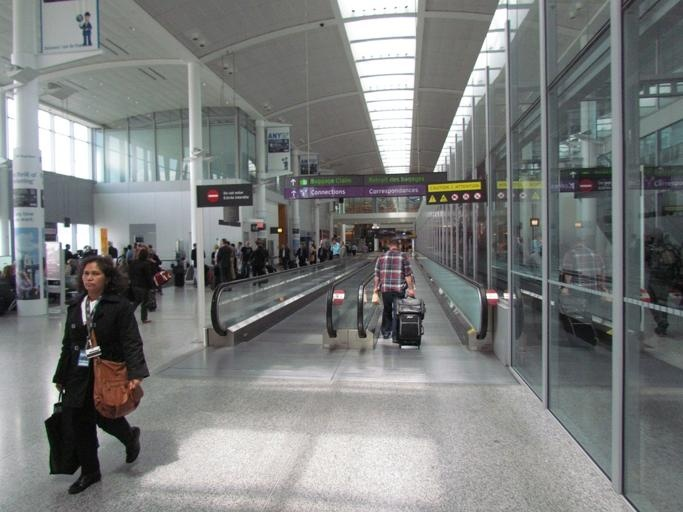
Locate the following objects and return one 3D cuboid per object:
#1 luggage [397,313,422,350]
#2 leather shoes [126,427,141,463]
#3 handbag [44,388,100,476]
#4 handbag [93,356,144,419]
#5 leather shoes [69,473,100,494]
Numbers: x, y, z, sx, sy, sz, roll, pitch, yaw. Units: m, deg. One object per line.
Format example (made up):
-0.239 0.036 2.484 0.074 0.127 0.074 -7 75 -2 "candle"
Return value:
1.153 1.347 8.136 0.475 0.727 0.397 1 -34 7 "luggage"
-1.914 1.761 4.474 0.112 0.345 0.139 -2 -3 13 "leather shoes"
-2.400 1.563 4.145 0.229 0.805 0.322 -4 5 -31 "handbag"
-1.966 1.142 4.203 0.264 0.547 0.393 -11 -4 33 "handbag"
-2.193 1.950 4.126 0.086 0.101 0.250 -1 -8 16 "leather shoes"
